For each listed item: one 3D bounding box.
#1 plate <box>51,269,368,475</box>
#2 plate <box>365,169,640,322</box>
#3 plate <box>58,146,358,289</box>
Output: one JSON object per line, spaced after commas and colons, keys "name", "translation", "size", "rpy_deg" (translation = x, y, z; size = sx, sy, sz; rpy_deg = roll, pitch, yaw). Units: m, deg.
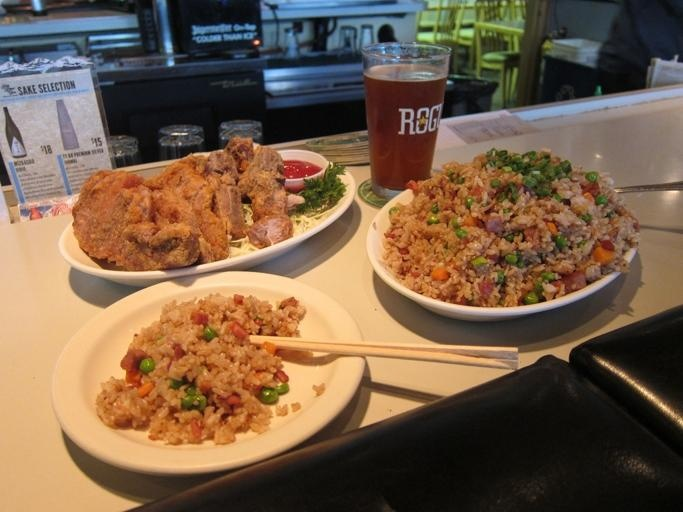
{"name": "plate", "translation": [-0.393, 0.294, 1.538], "size": [0.777, 0.440, 0.553], "rpy_deg": [-13, 17, -42]}
{"name": "plate", "translation": [0.388, -0.026, 1.617], "size": [0.701, 0.377, 0.568], "rpy_deg": [-2, 12, 6]}
{"name": "plate", "translation": [-0.570, -0.185, 2.007], "size": [0.794, 0.391, 0.608], "rpy_deg": [-9, 17, -32]}
